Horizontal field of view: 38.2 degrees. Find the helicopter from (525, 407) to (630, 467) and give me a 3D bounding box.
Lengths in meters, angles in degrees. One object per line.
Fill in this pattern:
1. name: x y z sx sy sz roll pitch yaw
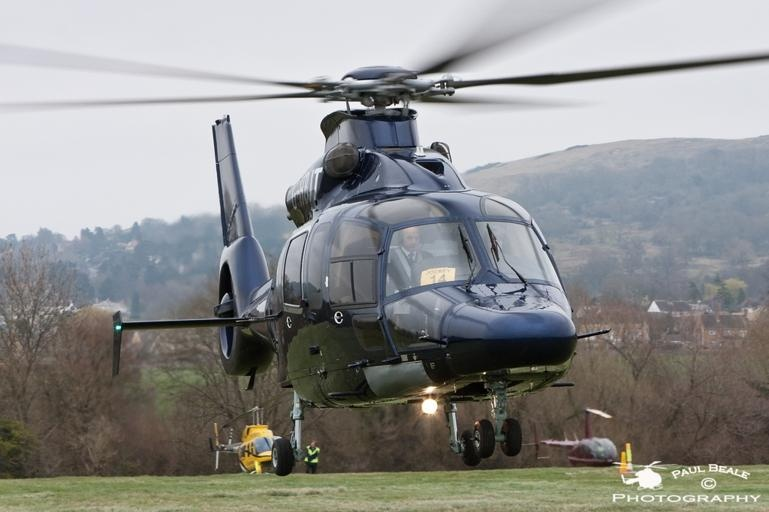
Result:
1. helicopter: 11.248 10.136 63.023 3.317 2.834 7.775 1 -8 -15
